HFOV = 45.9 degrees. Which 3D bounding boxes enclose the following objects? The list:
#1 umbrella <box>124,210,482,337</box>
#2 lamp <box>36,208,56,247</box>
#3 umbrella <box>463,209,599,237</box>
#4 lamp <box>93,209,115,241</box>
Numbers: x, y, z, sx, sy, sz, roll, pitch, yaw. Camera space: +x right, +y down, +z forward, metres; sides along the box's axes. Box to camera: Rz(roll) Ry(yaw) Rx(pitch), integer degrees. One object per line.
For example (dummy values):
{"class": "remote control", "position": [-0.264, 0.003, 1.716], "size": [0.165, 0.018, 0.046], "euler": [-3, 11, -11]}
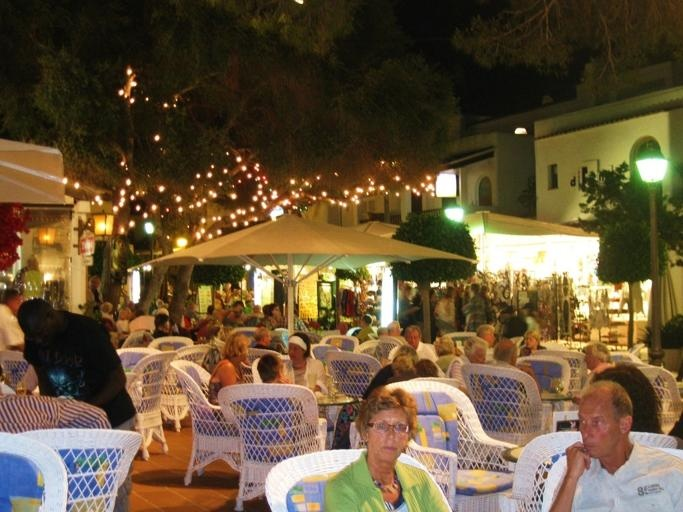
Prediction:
{"class": "umbrella", "position": [-1.004, 0.042, 11.210], "size": [2.456, 1.183, 2.703], "euler": [3, 11, -18]}
{"class": "lamp", "position": [-5.587, -0.544, 15.202], "size": [0.354, 0.638, 0.268], "euler": [5, -8, -19]}
{"class": "umbrella", "position": [4.182, -0.736, 18.679], "size": [2.632, 0.696, 0.996], "euler": [1, -10, 11]}
{"class": "lamp", "position": [-4.706, -0.604, 16.074], "size": [0.385, 0.559, 0.418], "euler": [1, -4, -10]}
